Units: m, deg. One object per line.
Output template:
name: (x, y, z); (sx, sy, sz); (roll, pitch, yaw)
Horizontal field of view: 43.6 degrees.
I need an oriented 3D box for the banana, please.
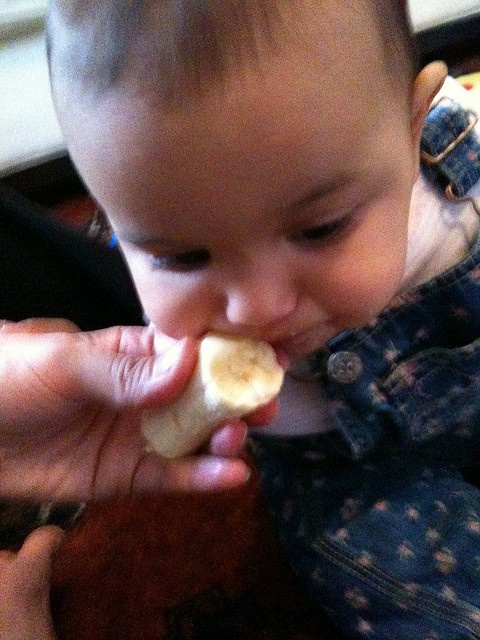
banana: (-0.029, 0.087, 0.646); (0.161, 0.066, 0.095); (-32, 60, 25)
